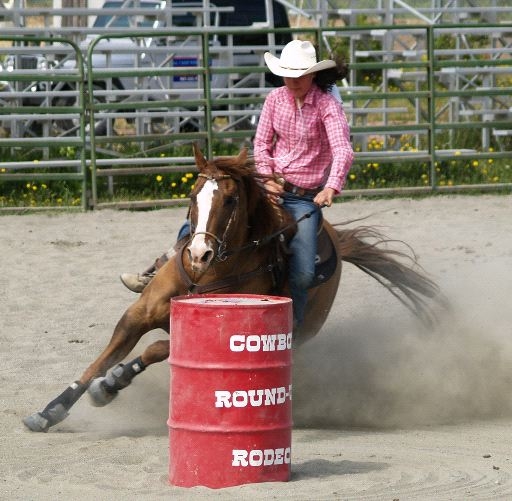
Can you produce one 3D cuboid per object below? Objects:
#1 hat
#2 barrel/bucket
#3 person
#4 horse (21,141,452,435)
[{"bbox_3d":[0.336,-1.394,7.920,0.463,0.184,0.441,-16,23,-10],"label":"hat"},{"bbox_3d":[-0.152,0.873,6.931,0.766,1.091,0.767,1,-1,0],"label":"barrel/bucket"},{"bbox_3d":[0.134,-0.330,8.083,0.794,2.458,0.920,20,17,33],"label":"person"},{"bbox_3d":[0.065,0.385,8.594,1.160,2.168,4.150,11,6,37],"label":"horse"}]
